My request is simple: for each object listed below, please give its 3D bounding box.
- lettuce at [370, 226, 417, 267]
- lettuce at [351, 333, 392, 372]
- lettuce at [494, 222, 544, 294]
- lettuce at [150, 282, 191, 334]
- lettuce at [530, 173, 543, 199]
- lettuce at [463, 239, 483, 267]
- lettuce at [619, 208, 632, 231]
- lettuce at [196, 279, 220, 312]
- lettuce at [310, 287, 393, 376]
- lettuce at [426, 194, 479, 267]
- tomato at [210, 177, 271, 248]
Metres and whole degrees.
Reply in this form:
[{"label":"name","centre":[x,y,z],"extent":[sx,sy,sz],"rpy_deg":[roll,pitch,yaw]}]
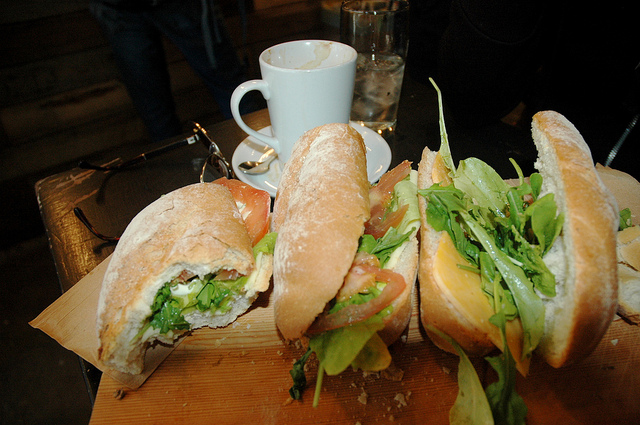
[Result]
[{"label":"lettuce","centre":[0.361,0.146,2.430],"extent":[0.290,0.103,0.213],"rpy_deg":[-1,21,41]},{"label":"lettuce","centre":[0.260,0.670,2.239],"extent":[0.167,0.048,0.267],"rpy_deg":[-1,29,8]},{"label":"lettuce","centre":[0.942,0.213,2.220],"extent":[0.078,0.170,0.294],"rpy_deg":[-23,79,-21]},{"label":"lettuce","centre":[-0.783,0.486,2.385],"extent":[0.234,0.238,0.085],"rpy_deg":[-10,-5,-13]},{"label":"lettuce","centre":[1.057,-0.134,2.257],"extent":[0.042,0.132,0.023],"rpy_deg":[1,6,33]},{"label":"lettuce","centre":[0.783,0.198,2.326],"extent":[0.089,0.119,0.030],"rpy_deg":[3,-9,-19]},{"label":"lettuce","centre":[1.649,0.038,2.481],"extent":[0.087,0.114,0.040],"rpy_deg":[-19,15,-42]},{"label":"lettuce","centre":[-0.573,0.439,2.415],"extent":[0.051,0.187,0.136],"rpy_deg":[-10,59,-34]},{"label":"lettuce","centre":[0.196,0.566,2.232],"extent":[0.443,0.107,0.334],"rpy_deg":[-38,37,-12]},{"label":"lettuce","centre":[0.654,0.066,2.330],"extent":[0.178,0.127,0.433],"rpy_deg":[15,36,-58]},{"label":"tomato","centre":[-0.403,0.016,2.576],"extent":[0.352,0.140,0.367],"rpy_deg":[47,39,0]}]
